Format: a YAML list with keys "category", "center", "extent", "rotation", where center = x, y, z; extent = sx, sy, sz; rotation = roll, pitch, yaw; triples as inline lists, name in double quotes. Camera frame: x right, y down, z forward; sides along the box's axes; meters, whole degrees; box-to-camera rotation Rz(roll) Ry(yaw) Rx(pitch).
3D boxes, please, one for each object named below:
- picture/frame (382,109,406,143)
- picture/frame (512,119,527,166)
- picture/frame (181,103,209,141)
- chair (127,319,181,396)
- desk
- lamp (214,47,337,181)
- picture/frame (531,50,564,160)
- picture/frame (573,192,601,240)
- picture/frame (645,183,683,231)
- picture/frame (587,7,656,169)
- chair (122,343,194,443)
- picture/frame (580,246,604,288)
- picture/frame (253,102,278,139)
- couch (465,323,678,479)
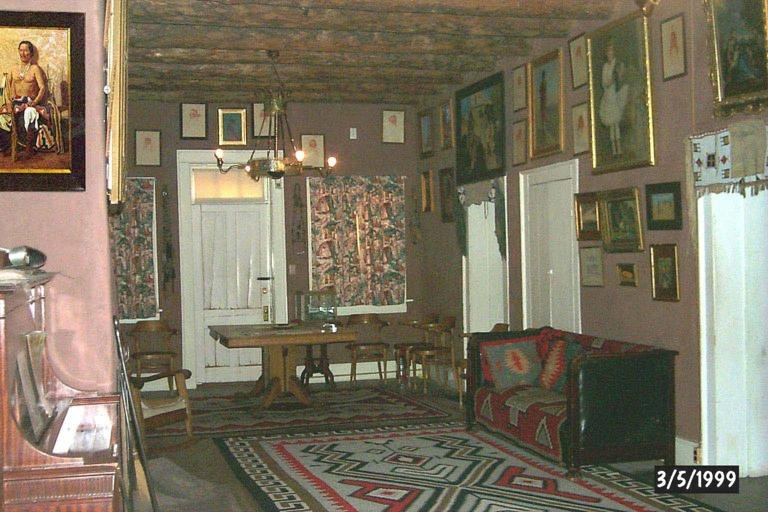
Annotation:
- category: "picture/frame"
  center: [0.126, -1.769, 11.290]
  extent: [0.369, 0.460, 0.032]
  rotation: [6, 12, 30]
- category: "picture/frame"
  center: [1.471, -1.248, 8.979]
  extent: [0.049, 0.467, 0.277]
  rotation: [-1, 3, -31]
- category: "picture/frame"
  center: [-2.497, -1.765, 10.803]
  extent: [0.491, 0.602, 0.028]
  rotation: [-5, 15, -23]
- category: "chair"
  center: [-2.905, 1.240, 10.435]
  extent: [0.661, 0.775, 0.564]
  rotation: [0, 0, -15]
- category: "desk"
  center: [-1.219, 1.275, 9.606]
  extent: [1.512, 0.950, 1.470]
  rotation: [-2, 5, -13]
- category: "lamp"
  center: [-1.221, -1.556, 9.266]
  extent: [1.412, 1.380, 1.395]
  rotation: [7, 12, 24]
- category: "picture/frame"
  center: [1.683, -1.568, 8.623]
  extent: [0.058, 1.049, 0.452]
  rotation: [-5, 7, -35]
- category: "picture/frame"
  center: [2.023, -0.389, 8.196]
  extent: [0.099, 0.548, 0.481]
  rotation: [3, -4, -30]
- category: "picture/frame"
  center: [2.491, -0.439, 7.395]
  extent: [0.377, 0.390, 0.020]
  rotation: [-4, 2, -20]
- category: "picture/frame"
  center: [2.227, -1.510, 7.753]
  extent: [0.132, 1.409, 0.811]
  rotation: [-4, 6, -23]
- category: "chair"
  center: [-2.222, 1.420, 8.132]
  extent: [0.639, 0.861, 0.703]
  rotation: [-9, -8, -18]
- category: "picture/frame"
  center: [2.039, 0.116, 8.175]
  extent: [0.317, 0.381, 0.036]
  rotation: [0, -5, -32]
- category: "picture/frame"
  center: [-1.564, -1.776, 10.946]
  extent: [0.365, 0.474, 0.048]
  rotation: [5, 4, 29]
- category: "couch"
  center: [1.723, 1.363, 8.067]
  extent: [1.249, 1.046, 2.176]
  rotation: [-3, 1, -21]
